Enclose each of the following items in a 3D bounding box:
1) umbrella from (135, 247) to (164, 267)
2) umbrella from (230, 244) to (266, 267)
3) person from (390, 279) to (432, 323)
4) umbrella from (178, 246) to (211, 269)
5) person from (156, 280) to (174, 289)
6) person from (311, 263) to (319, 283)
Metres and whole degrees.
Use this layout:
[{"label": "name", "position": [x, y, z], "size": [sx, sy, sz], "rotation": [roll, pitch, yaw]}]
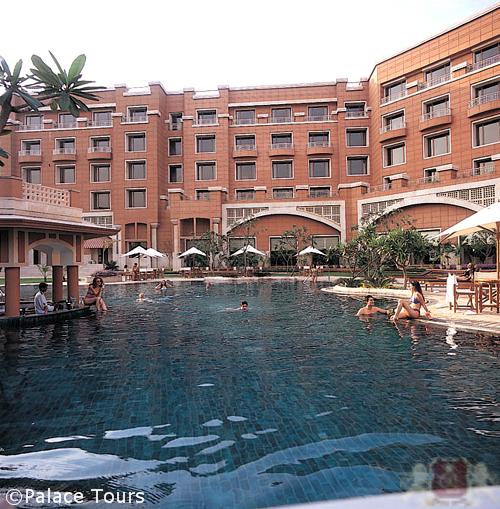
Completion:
[{"label": "umbrella", "position": [-8.199, 0.291, 39.709], "size": [1.794, 0.831, 1.615], "rotation": [0, -2, -1]}, {"label": "umbrella", "position": [-0.267, -0.057, 36.194], "size": [1.933, 0.952, 1.999], "rotation": [-1, 0, 43]}, {"label": "person", "position": [4.141, 1.246, 12.751], "size": [1.130, 1.070, 0.540], "rotation": [3, -7, 8]}, {"label": "umbrella", "position": [-4.323, 0.378, 39.510], "size": [1.841, 1.182, 1.987], "rotation": [3, 2, 23]}, {"label": "person", "position": [-4.443, 1.487, 24.880], "size": [0.677, 0.349, 0.932], "rotation": [1, -10, -13]}, {"label": "person", "position": [4.238, 1.256, 32.015], "size": [0.767, 1.223, 0.795], "rotation": [0, -4, 33]}]
